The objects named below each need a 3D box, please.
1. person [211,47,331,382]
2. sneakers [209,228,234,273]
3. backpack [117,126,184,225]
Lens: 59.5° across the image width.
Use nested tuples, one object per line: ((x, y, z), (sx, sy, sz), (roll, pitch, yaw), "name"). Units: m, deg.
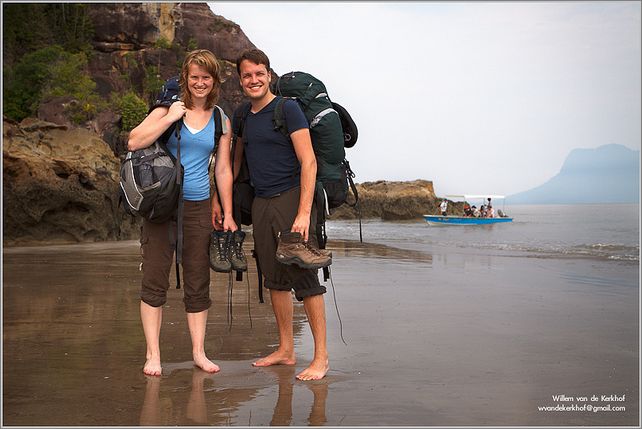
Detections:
((-0.475, -0.040, 7.033), (1.559, 3.985, 0.686), (11, 15, 40), "person")
((-1.305, 0.439, 7.134), (0.219, 0.588, 0.265), (0, -39, -21), "sneakers")
((-2.075, -0.391, 6.844), (0.745, 1.014, 0.315), (-1, 12, -15), "backpack")
